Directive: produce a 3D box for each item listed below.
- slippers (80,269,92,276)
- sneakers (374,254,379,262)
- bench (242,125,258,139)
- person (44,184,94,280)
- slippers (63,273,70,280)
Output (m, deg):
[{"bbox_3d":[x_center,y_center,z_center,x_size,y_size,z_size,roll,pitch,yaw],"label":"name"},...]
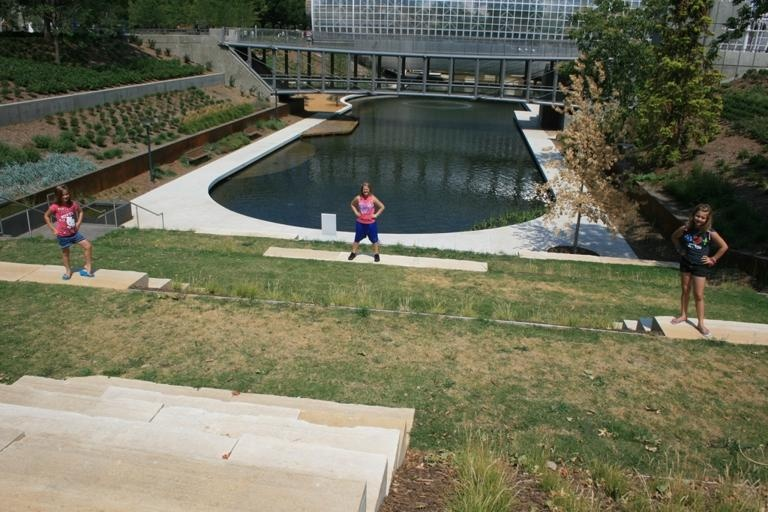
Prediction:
[{"bbox_3d":[-5.846,0.363,10.046,0.218,0.082,0.121,17,25,19],"label":"slippers"},{"bbox_3d":[-0.212,0.065,13.168,0.154,0.144,0.358,-1,4,-2],"label":"sneakers"},{"bbox_3d":[-8.819,-8.066,33.707,1.116,0.309,1.183,26,39,20],"label":"bench"},{"bbox_3d":[-6.204,-0.389,10.128,0.626,1.986,1.308,-16,32,-30],"label":"person"},{"bbox_3d":[-6.136,0.400,9.920,0.110,0.087,0.205,-2,0,-34],"label":"slippers"}]
